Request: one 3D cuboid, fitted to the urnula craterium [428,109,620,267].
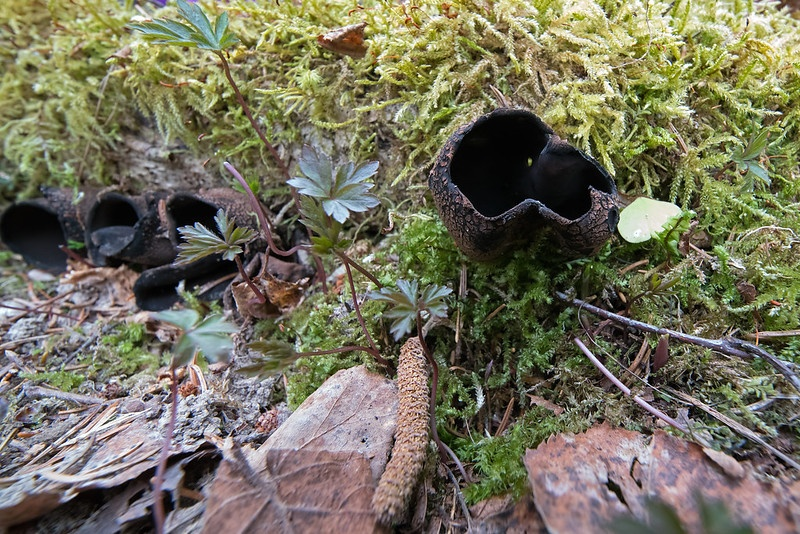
[{"bbox_3d":[0.575,-0.398,2.748,0.837,0.505,0.530,0,50,3],"label":"urnula craterium"}]
